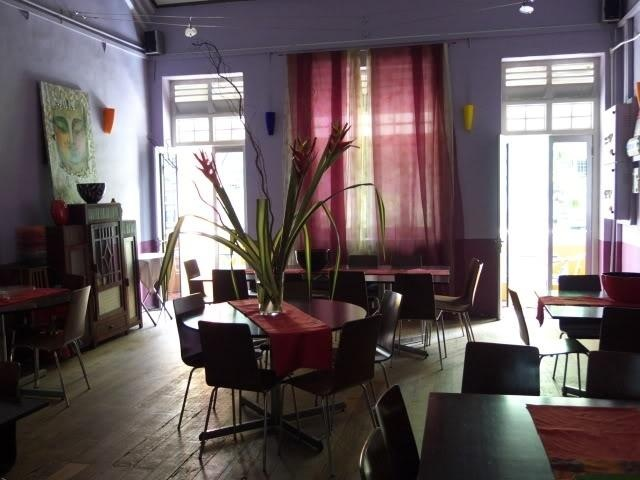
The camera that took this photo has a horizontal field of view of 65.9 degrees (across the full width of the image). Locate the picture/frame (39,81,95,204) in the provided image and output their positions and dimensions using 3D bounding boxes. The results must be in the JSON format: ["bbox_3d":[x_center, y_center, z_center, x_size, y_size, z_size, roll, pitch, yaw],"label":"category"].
[{"bbox_3d":[-2.892,-1.094,5.708,0.196,1.361,0.688,1,3,11],"label":"picture/frame"}]

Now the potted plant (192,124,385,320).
[{"bbox_3d":[-0.230,-0.260,5.314,1.982,2.094,2.159,1,4,8],"label":"potted plant"}]

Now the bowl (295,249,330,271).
[{"bbox_3d":[-0.058,0.252,5.475,0.235,0.186,0.265,0,-4,-22],"label":"bowl"}]

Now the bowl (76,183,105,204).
[{"bbox_3d":[-2.559,-0.524,5.514,0.226,0.189,0.247,0,-1,0],"label":"bowl"}]

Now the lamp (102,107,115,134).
[{"bbox_3d":[-2.699,-1.520,6.367,0.138,0.325,0.206,1,3,12],"label":"lamp"}]

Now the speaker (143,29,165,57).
[{"bbox_3d":[-2.357,-2.747,7.137,0.264,0.419,0.387,-1,5,3],"label":"speaker"}]

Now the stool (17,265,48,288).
[{"bbox_3d":[-2.828,0.375,4.924,0.194,0.321,0.202,-1,7,-5],"label":"stool"}]

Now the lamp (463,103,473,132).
[{"bbox_3d":[1.925,-1.576,6.370,0.121,0.334,0.135,2,4,21],"label":"lamp"}]

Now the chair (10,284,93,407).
[{"bbox_3d":[-2.331,0.910,4.295,0.545,0.993,0.535,2,3,-12],"label":"chair"}]

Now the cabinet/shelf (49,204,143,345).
[{"bbox_3d":[-2.445,0.389,5.337,0.393,1.792,1.459,-1,1,5],"label":"cabinet/shelf"}]

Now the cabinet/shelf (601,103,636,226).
[{"bbox_3d":[3.459,-0.893,5.785,0.213,1.349,0.647,1,3,9],"label":"cabinet/shelf"}]
